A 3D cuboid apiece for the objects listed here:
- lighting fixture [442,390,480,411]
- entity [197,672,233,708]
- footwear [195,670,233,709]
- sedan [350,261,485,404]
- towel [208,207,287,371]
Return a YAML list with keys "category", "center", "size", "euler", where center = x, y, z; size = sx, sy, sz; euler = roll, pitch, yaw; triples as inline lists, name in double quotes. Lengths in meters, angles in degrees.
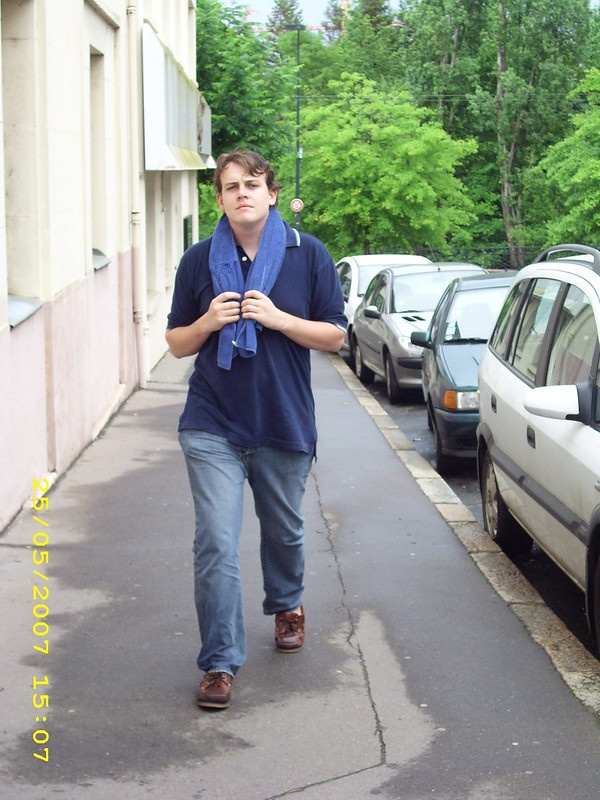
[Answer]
- category: "lighting fixture"
  center: [1.345, 0.000, 7.266]
  size: [0.198, 0.122, 0.194]
  euler: [0, 3, -8]
- category: "entity"
  center: [-0.285, 0.948, 2.779]
  size: [0.068, 0.070, 0.166]
  euler: [1, -7, -3]
- category: "footwear"
  center: [-0.289, 0.953, 2.785]
  size: [0.069, 0.068, 0.165]
  euler: [1, -8, -3]
- category: "sedan"
  center: [1.587, -1.115, 11.990]
  size: [1.438, 1.152, 2.429]
  euler: [-1, 5, -6]
- category: "towel"
  center: [-0.183, -0.386, 2.883]
  size: [0.259, 0.564, 0.320]
  euler: [2, 5, -6]
